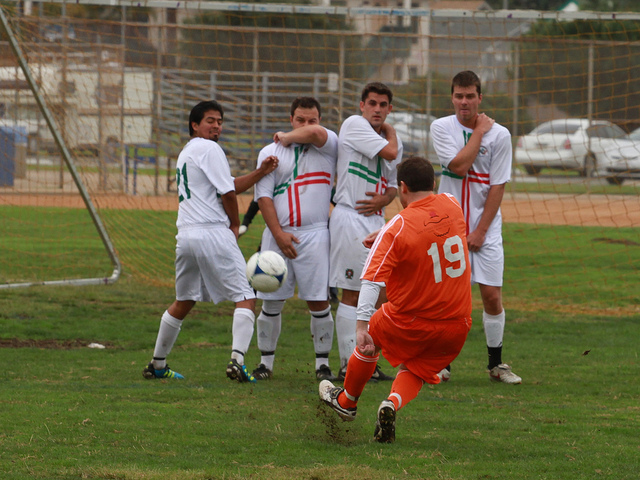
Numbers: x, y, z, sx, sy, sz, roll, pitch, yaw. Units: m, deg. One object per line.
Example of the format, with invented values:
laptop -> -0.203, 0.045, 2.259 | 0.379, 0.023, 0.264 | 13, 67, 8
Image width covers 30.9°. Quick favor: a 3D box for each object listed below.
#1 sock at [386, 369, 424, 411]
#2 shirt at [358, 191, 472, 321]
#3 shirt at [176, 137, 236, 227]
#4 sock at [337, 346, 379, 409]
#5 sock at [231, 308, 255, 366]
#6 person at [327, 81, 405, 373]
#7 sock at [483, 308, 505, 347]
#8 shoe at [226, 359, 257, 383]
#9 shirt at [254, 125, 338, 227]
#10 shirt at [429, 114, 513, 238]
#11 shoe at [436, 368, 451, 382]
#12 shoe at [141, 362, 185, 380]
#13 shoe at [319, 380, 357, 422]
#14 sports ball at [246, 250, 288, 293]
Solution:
sock -> 0.877, 1.608, 12.276 | 0.226, 0.396, 0.419 | 9, 11, 41
shirt -> 0.990, 0.226, 12.278 | 1.175, 0.959, 0.538 | -11, 19, -17
shirt -> -1.335, -0.650, 13.344 | 0.497, 1.173, 0.472 | -6, 13, -22
sock -> 0.387, 1.483, 12.276 | 0.399, 0.680, 0.119 | 2, 8, 3
sock -> -0.883, 1.122, 13.237 | 0.231, 0.621, 0.330 | 2, 8, -2
person -> 0.607, -0.080, 13.772 | 0.935, 3.595, 0.904 | -1, -1, -20
sock -> 2.049, 1.116, 13.819 | 0.276, 0.442, 0.269 | -7, 9, -29
shoe -> -0.890, 1.547, 13.173 | 0.143, 0.184, 0.408 | -19, -42, 36
shirt -> -0.272, -0.703, 13.925 | 0.995, 1.209, 0.665 | -6, -1, 16
shirt -> 1.768, -0.846, 13.840 | 0.744, 1.525, 0.692 | 0, 14, -7
shoe -> 1.452, 1.620, 13.653 | 0.075, 0.157, 0.458 | 5, 9, 19
shoe -> -1.842, 1.558, 13.547 | 0.523, 0.252, 0.193 | 5, 2, -14
shoe -> 0.158, 1.715, 12.449 | 0.197, 0.230, 0.543 | -17, 49, -38
sports ball -> -0.603, 0.382, 13.481 | 0.435, 0.470, 0.453 | 3, 0, 0
